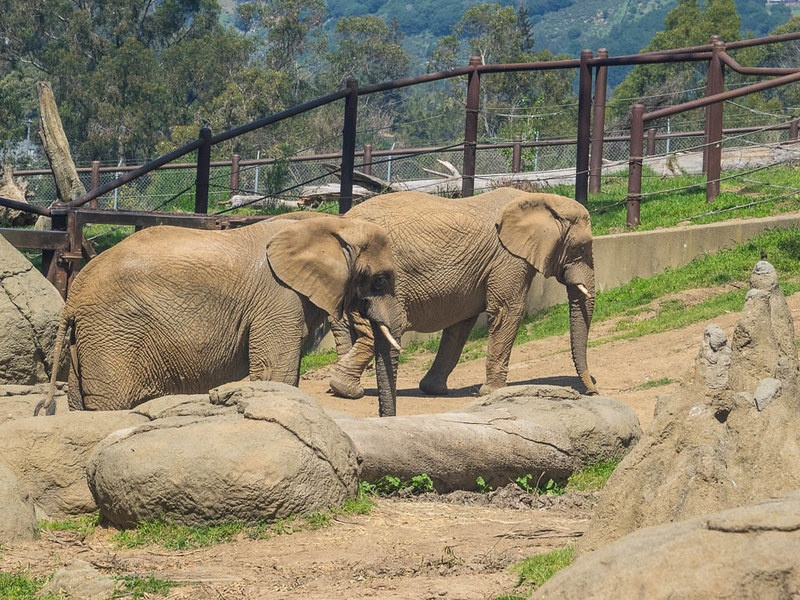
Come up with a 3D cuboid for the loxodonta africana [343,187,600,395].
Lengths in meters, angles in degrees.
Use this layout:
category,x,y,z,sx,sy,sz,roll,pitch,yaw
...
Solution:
category,x,y,z,sx,sy,sz,roll,pitch,yaw
loxodonta africana,0.871,-0.083,24.741,4.005,3.167,1.824,0,2,-10
